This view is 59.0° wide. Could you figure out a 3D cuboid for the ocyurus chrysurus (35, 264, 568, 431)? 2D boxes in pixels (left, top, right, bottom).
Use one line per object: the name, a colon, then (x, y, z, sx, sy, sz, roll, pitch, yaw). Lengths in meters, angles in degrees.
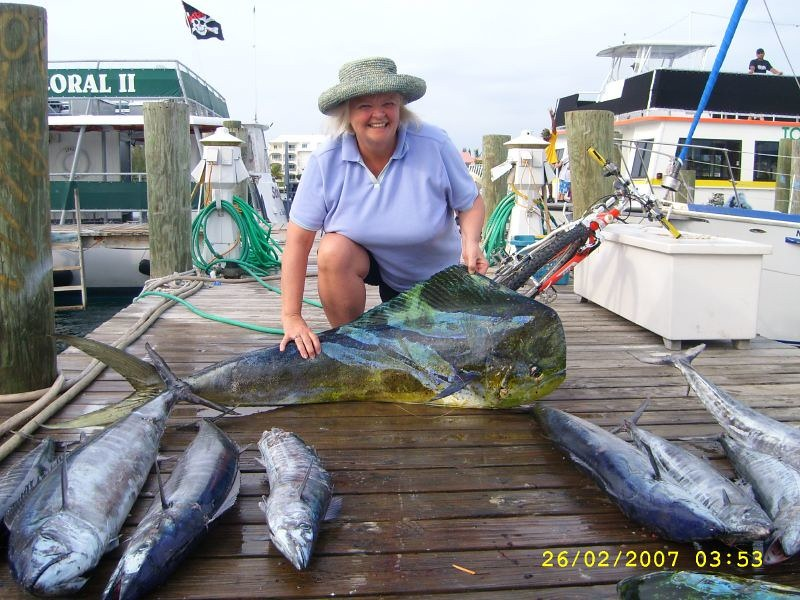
ocyurus chrysurus: (-0.112, 0.298, 3.198, 2.013, 0.818, 1.393, 8, 6, -8)
